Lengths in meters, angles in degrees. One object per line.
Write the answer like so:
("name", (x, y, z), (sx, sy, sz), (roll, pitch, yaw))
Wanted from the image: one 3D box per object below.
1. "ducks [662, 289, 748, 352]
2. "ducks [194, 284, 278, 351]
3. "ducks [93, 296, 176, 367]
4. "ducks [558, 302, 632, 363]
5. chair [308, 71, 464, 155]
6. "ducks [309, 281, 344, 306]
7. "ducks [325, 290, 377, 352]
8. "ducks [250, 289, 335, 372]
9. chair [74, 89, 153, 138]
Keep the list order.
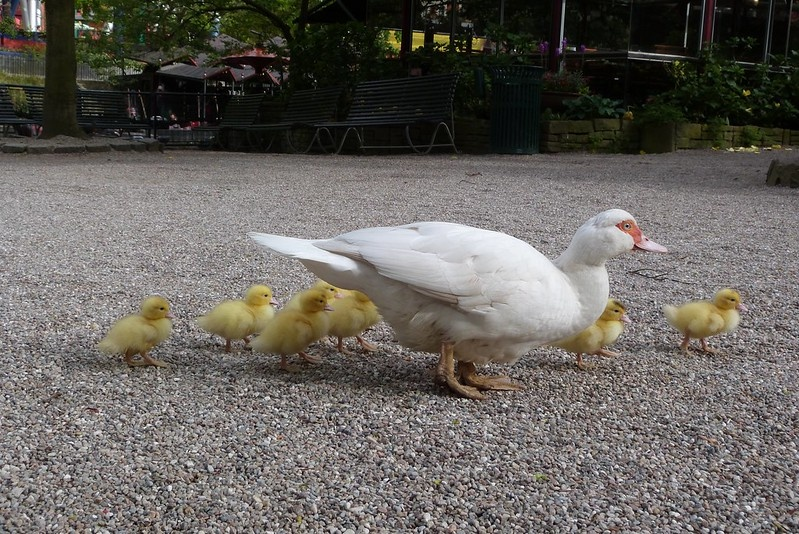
("\"ducks", (1.865, 0.327, 4.301), (0.484, 0.348, 0.304), (8, -2, 25))
("\"ducks", (-1.015, 0.283, 4.175), (0.516, 0.350, 0.351), (4, 16, -29))
("\"ducks", (-1.442, 0.341, 3.917), (0.507, 0.406, 0.317), (-3, 18, -35))
("\"ducks", (1.095, 0.377, 4.183), (0.592, 0.362, 0.362), (2, 1, 33))
("chair", (-0.100, -3.346, 15.143), (3.021, 1.831, 2.100), (7, 17, 16))
("\"ducks", (-0.447, 0.144, 4.201), (0.219, 0.118, 0.105), (27, 22, 18))
("\"ducks", (-0.283, 0.320, 4.169), (0.433, 0.341, 0.247), (1, -5, 7))
("\"ducks", (-0.617, 0.350, 3.944), (0.537, 0.415, 0.344), (-5, 7, -21))
("chair", (-8.098, -4.259, 19.149), (1.511, 1.364, 4.944), (-5, 17, -23))
